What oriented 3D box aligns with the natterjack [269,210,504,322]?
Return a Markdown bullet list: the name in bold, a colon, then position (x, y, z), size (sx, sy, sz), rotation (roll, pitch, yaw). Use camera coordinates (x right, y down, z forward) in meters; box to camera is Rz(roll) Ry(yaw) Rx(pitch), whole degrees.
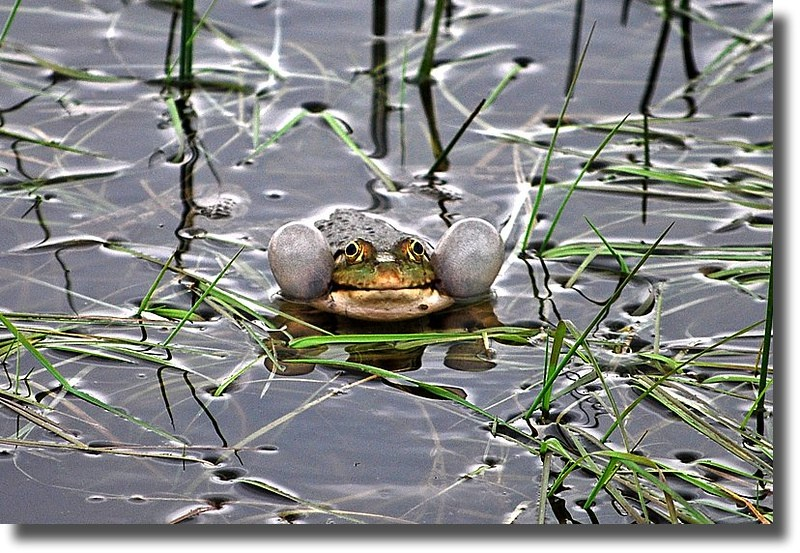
- **natterjack**: position (-0.157, -0.082, 3.371), size (1.023, 0.296, 0.837), rotation (-5, 18, -20)
